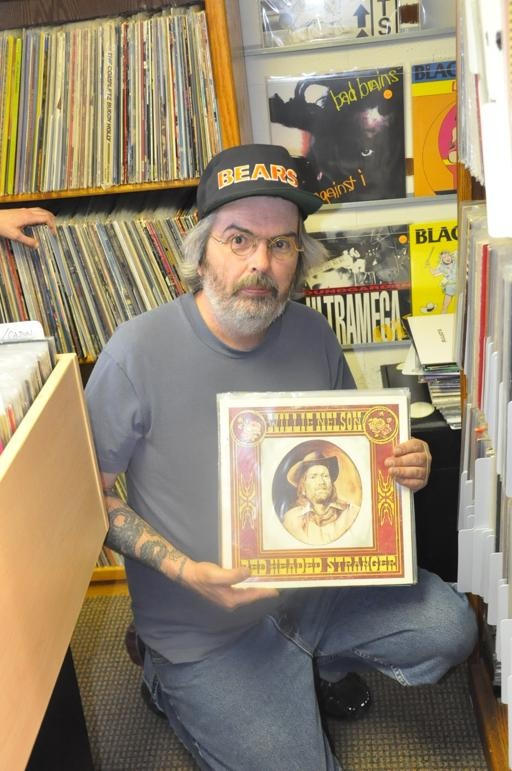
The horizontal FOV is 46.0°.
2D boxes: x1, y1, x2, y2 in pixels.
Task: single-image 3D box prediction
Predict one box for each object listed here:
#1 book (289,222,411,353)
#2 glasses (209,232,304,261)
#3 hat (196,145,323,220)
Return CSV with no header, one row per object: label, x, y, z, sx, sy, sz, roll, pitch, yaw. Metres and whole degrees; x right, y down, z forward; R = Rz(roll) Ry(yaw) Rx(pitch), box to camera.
book,0.304,-0.326,1.892,0.444,0.422,0.063,-2,21,8
glasses,-0.001,-0.282,1.227,0.172,0.063,0.072,-7,21,-4
hat,0.003,-0.406,1.237,0.258,0.160,0.172,-7,21,-4
